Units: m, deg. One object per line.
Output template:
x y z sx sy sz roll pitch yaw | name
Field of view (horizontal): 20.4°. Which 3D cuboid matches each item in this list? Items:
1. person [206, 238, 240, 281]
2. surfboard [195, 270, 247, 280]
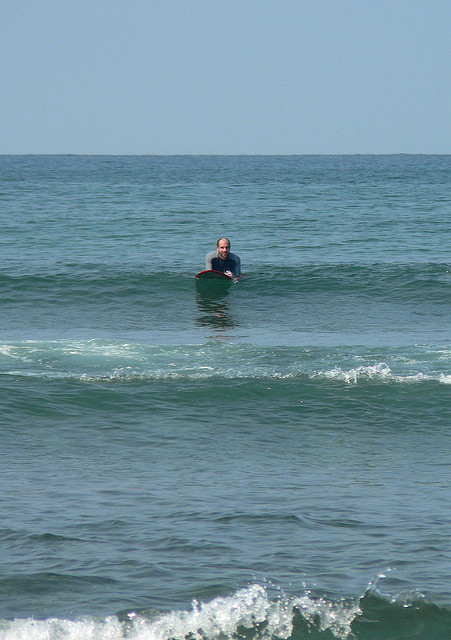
-0.067 -1.155 28.678 0.842 1.350 0.751 3 -1 4 | person
-0.045 -0.994 28.489 0.987 0.095 0.267 5 -25 -39 | surfboard
